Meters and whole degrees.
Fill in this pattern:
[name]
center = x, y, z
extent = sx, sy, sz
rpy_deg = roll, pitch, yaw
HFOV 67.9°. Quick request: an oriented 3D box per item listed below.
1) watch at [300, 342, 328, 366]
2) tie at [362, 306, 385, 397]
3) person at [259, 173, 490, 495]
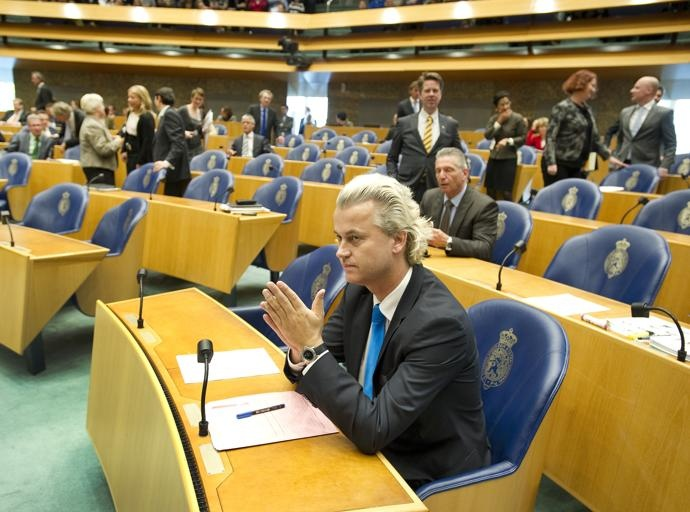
[watch]
center = -0.103, 0.318, 1.763
extent = 0.074, 0.087, 0.054
rpy_deg = -7, 51, -43
[tie]
center = 0.106, 0.360, 1.914
extent = 0.023, 0.358, 0.071
rpy_deg = 0, 12, -25
[person]
center = 0.157, 0.268, 1.762
extent = 0.741, 1.044, 0.457
rpy_deg = 10, 14, 26
